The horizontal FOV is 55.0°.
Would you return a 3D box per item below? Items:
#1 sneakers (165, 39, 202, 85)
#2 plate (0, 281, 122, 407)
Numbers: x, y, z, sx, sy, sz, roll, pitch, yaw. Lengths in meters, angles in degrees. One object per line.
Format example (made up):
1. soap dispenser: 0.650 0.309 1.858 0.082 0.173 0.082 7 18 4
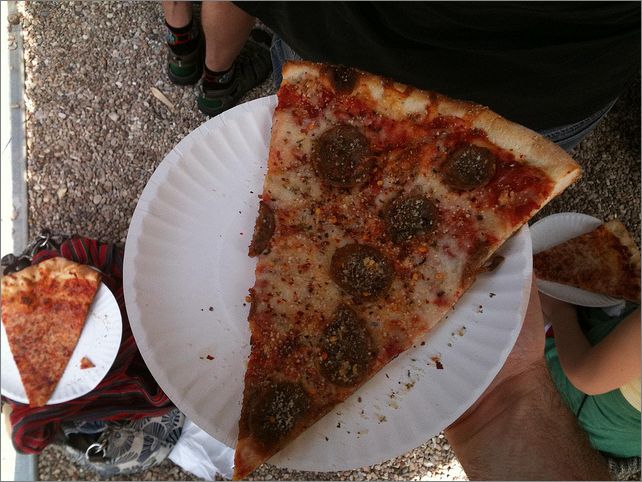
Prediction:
1. sneakers: -1.088 -1.426 5.112 0.195 0.406 0.280 -4 100 0
2. plate: -1.771 0.761 4.218 0.908 0.106 0.641 -24 85 -2
